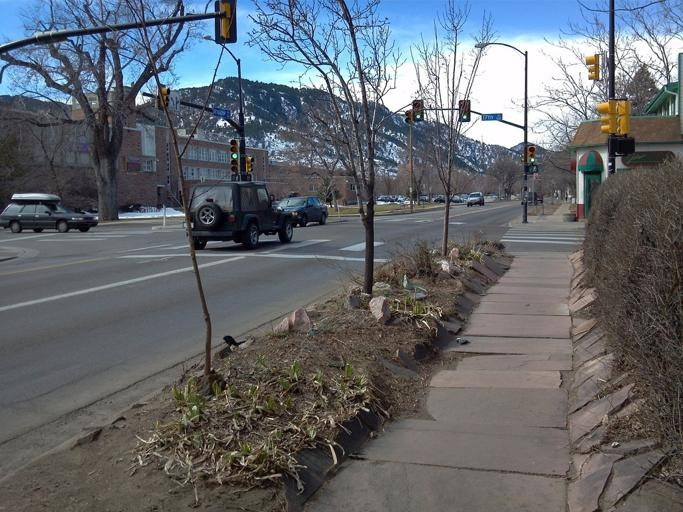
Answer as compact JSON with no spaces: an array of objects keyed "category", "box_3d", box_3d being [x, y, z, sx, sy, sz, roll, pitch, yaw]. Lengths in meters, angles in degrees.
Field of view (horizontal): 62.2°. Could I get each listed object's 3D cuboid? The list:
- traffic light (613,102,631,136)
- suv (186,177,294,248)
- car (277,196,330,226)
[{"category":"traffic light","box_3d":[8.458,-4.190,17.137,0.347,1.074,1.397,1,8,25]},{"category":"suv","box_3d":[-3.645,-1.409,19.907,2.205,2.577,4.767,2,8,23]},{"category":"car","box_3d":[-2.180,-2.662,33.775,1.419,1.250,2.894,-1,-1,25]}]
